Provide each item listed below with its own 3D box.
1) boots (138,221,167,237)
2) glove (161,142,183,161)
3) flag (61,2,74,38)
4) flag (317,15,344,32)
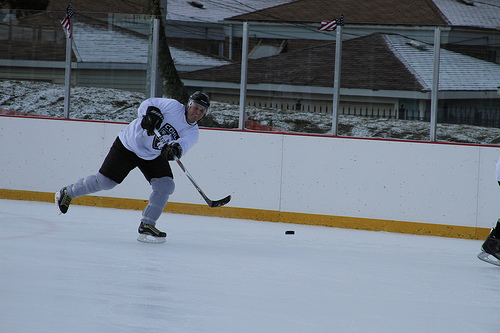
[{"bbox_3d":[-1.105,0.712,9.600,0.408,0.178,0.126,13,6,-17],"label":"boots"},{"bbox_3d":[-0.849,-0.170,9.319,0.228,0.202,0.139,5,5,0],"label":"glove"},{"bbox_3d":[-2.463,-1.929,11.518,0.175,0.414,0.106,9,6,34],"label":"flag"},{"bbox_3d":[1.076,-1.844,11.155,0.335,0.200,0.103,9,6,35],"label":"flag"}]
